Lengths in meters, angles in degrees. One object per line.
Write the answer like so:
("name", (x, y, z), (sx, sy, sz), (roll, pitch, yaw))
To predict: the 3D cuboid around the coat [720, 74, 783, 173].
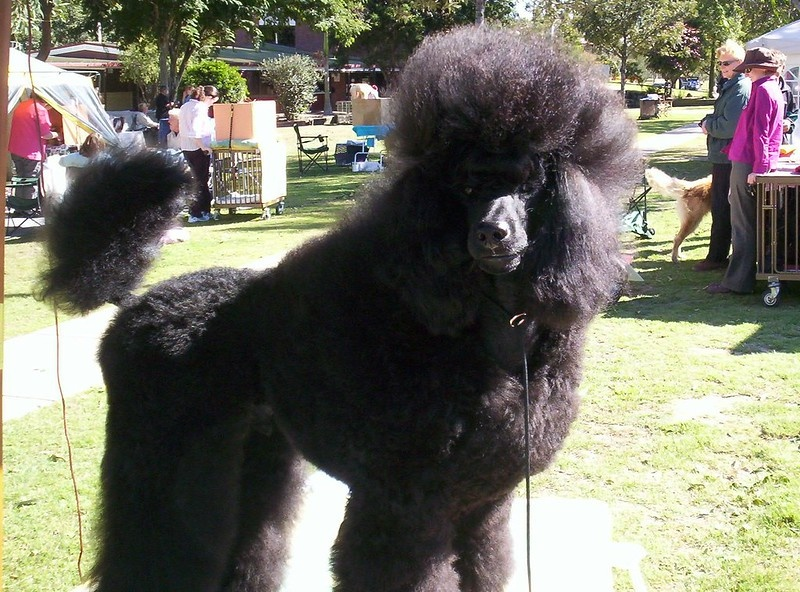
("coat", (3.212, -1.596, 7.796), (0.445, 0.824, 0.885), (10, 23, 15))
